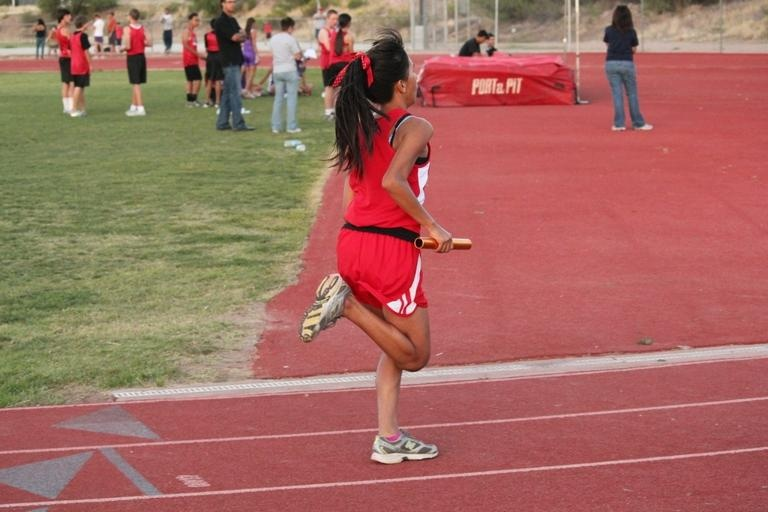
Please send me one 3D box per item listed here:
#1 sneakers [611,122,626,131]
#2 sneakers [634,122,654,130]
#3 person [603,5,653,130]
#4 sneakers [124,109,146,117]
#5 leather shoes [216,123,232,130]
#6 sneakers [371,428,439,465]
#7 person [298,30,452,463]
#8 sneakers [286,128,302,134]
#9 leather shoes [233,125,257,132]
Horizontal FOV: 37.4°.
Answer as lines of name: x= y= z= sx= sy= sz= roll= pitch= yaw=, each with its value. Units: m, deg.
sneakers: x=4.120 y=-2.303 z=20.251 sx=0.287 sy=0.114 sz=0.098 roll=2 pitch=11 yaw=18
sneakers: x=4.633 y=-2.329 z=20.255 sx=0.440 sy=0.172 sz=0.142 roll=-3 pitch=21 yaw=-14
person: x=4.188 y=-3.273 z=19.799 sx=0.718 sy=2.201 sz=0.846 roll=2 pitch=14 yaw=22
sneakers: x=-4.854 y=-2.800 z=22.108 sx=0.434 sy=0.151 sz=0.143 roll=3 pitch=4 yaw=8
leather shoes: x=-2.888 y=-2.342 z=20.561 sx=0.104 sy=0.104 sz=0.288 roll=7 pitch=15 yaw=37
sneakers: x=0.161 y=1.691 z=10.001 sx=0.679 sy=0.255 sz=0.220 roll=-1 pitch=4 yaw=-13
person: x=-0.024 y=-0.057 z=9.806 sx=1.179 sy=3.730 sz=0.792 roll=-4 pitch=13 yaw=-2
sneakers: x=-1.628 y=-2.254 z=20.363 sx=0.246 sy=0.086 sz=0.097 roll=-1 pitch=3 yaw=22
leather shoes: x=-2.536 y=-2.305 z=20.463 sx=0.427 sy=0.138 sz=0.131 roll=-3 pitch=6 yaw=7
